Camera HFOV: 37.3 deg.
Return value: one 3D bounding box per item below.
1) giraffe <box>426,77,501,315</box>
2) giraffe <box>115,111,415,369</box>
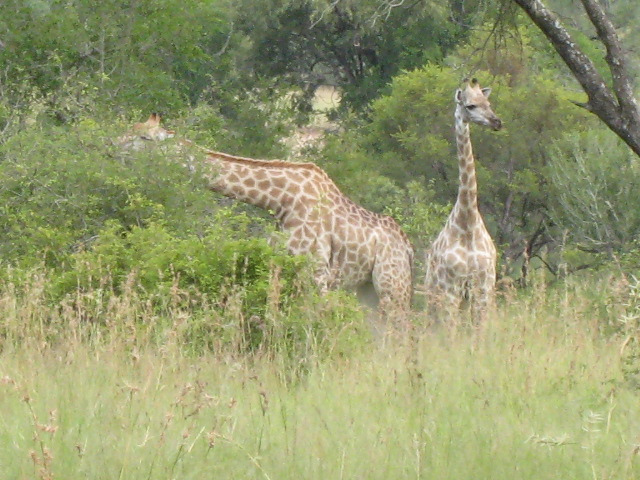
[{"bbox_3d":[1.873,-0.632,12.394,1.042,2.980,0.737,-2,-4,24],"label":"giraffe"},{"bbox_3d":[-0.208,0.191,13.071,3.821,2.757,0.837,11,-16,-31],"label":"giraffe"}]
